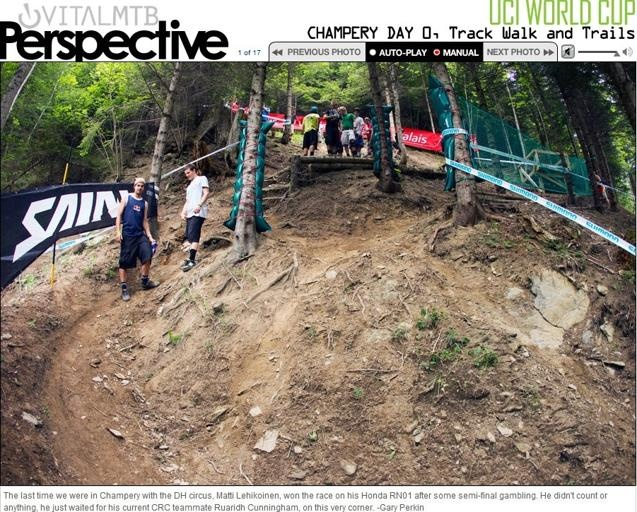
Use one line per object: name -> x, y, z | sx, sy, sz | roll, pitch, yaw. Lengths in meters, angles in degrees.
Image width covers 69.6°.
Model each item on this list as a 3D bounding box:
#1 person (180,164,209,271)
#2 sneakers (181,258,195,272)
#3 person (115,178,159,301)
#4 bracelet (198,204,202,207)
person -> -2.725, -0.847, 10.012 | 0.692, 2.104, 0.982 | -4, 18, -9
sneakers -> -2.818, 0.202, 9.886 | 0.162, 0.172, 0.359 | -2, 2, 12
person -> -3.950, -0.394, 9.778 | 0.806, 2.430, 0.889 | -8, 18, -20
bracelet -> -2.524, -1.085, 9.740 | 0.072, 0.076, 0.021 | 5, 0, 7
